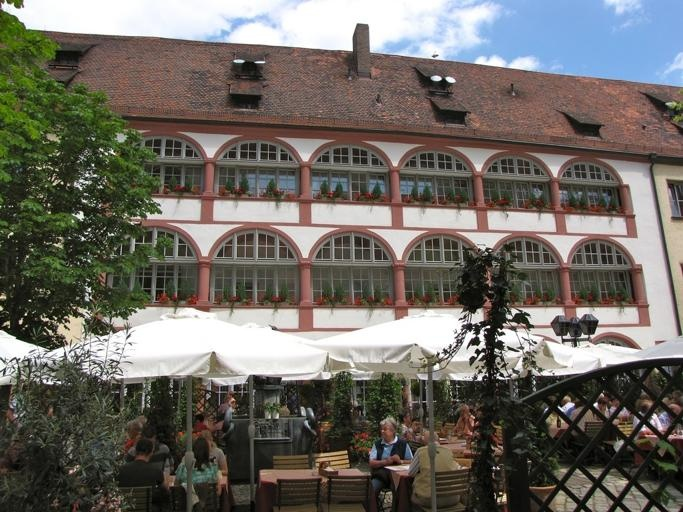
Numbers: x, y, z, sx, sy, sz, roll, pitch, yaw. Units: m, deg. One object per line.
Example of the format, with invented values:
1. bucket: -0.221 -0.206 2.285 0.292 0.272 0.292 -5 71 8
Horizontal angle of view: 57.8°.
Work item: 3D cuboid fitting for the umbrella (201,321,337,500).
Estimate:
1. umbrella: -1.242 2.470 10.044 2.612 2.494 2.506 4 -9 -39
